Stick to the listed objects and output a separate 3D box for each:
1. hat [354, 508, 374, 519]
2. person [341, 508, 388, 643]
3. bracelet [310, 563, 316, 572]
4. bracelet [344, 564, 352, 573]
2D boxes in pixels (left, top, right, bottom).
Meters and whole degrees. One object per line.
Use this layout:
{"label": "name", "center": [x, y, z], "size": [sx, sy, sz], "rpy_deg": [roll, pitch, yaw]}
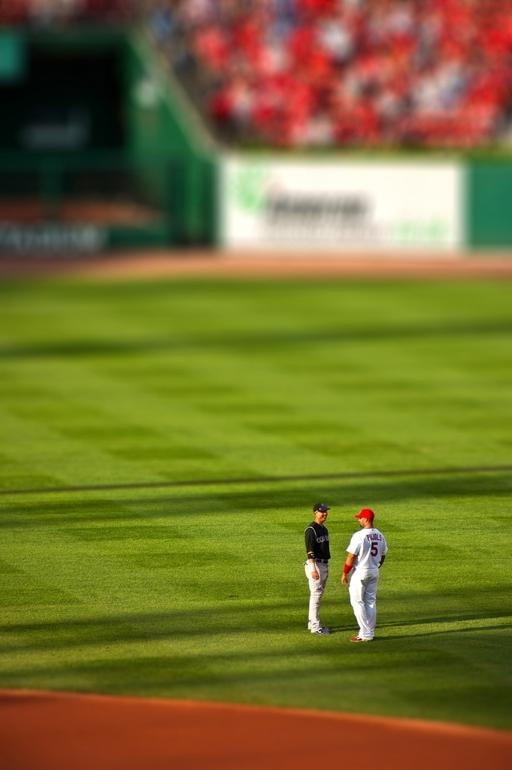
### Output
{"label": "hat", "center": [0.631, 0.781, 7.769], "size": [0.129, 0.065, 0.094], "rpy_deg": [1, 0, 18]}
{"label": "person", "center": [0.655, 1.184, 7.859], "size": [0.263, 0.884, 0.420], "rpy_deg": [-3, 12, 4]}
{"label": "bracelet", "center": [0.341, 1.100, 7.790], "size": [0.029, 0.061, 0.019], "rpy_deg": [-10, 14, -28]}
{"label": "bracelet", "center": [0.535, 1.093, 7.676], "size": [0.051, 0.051, 0.053], "rpy_deg": [-1, 2, -6]}
